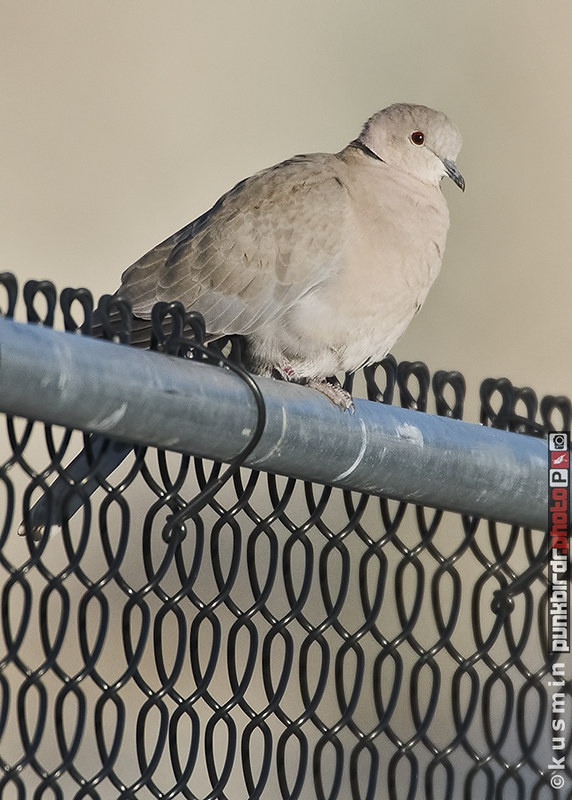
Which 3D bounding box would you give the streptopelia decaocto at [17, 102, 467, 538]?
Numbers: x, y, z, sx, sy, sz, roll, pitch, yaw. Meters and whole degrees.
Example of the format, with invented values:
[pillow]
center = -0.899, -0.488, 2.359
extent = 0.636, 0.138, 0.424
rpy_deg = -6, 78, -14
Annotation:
[streptopelia decaocto]
center = -0.024, -0.256, 3.643
extent = 0.751, 1.004, 0.407
rpy_deg = 16, 18, 21
